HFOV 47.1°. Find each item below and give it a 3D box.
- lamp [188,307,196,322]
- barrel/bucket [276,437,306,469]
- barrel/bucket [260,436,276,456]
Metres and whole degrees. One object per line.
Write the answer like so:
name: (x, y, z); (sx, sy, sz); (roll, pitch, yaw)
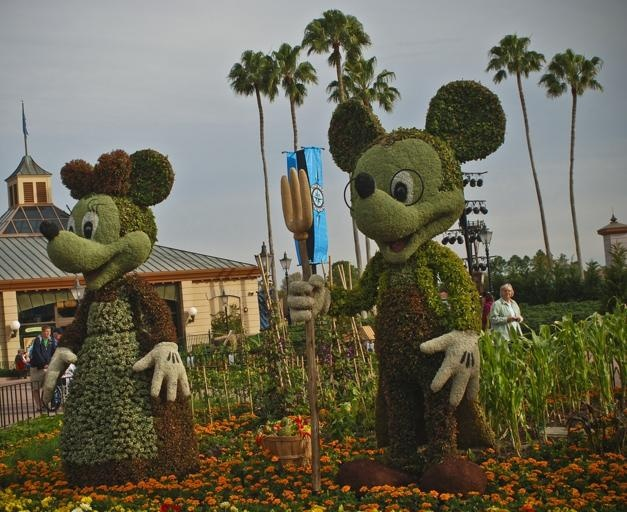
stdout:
lamp: (-3.867, 1.880, 23.149); (0.272, 0.455, 1.333); (-2, -5, -10)
barrel/bucket: (-0.221, 2.021, 7.430); (0.269, 0.245, 0.281); (0, -7, 0)
barrel/bucket: (-0.460, 1.985, 7.566); (0.203, 0.175, 0.201); (-1, -13, 0)
